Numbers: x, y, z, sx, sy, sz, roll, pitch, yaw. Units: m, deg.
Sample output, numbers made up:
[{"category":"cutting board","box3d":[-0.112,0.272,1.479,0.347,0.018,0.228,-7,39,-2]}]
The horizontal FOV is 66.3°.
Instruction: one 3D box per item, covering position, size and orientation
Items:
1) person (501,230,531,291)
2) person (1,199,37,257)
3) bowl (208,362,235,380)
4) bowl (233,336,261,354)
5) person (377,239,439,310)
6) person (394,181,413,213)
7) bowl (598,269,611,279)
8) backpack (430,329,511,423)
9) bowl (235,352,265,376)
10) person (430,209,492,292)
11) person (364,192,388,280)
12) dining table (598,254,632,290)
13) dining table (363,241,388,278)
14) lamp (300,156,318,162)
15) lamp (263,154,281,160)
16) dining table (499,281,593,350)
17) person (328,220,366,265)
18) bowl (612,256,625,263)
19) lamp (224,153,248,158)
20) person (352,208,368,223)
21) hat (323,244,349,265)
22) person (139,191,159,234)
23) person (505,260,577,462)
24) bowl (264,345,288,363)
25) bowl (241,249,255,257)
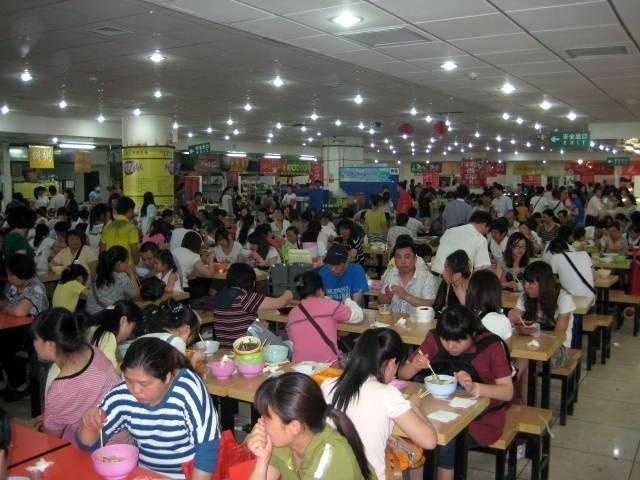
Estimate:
[{"category":"person","box3d":[2.558,0.368,6.405,0.302,1.033,0.312,10,36,25]},{"category":"person","box3d":[-3.804,-0.039,6.209,0.353,0.705,0.756,-3,15,-30]},{"category":"bowl","box3d":[-0.711,0.937,3.585,0.132,0.081,0.138,-1,-8,0]},{"category":"bowl","box3d":[-0.553,0.803,3.736,0.143,0.068,0.141,1,9,0]},{"category":"person","box3d":[0.904,0.601,5.243,0.579,1.125,0.592,4,11,22]},{"category":"person","box3d":[2.264,-1.164,13.242,0.456,0.913,0.686,-6,26,8]},{"category":"bowl","box3d":[3.904,0.457,6.739,0.125,0.078,0.130,-1,1,0]},{"category":"backpack","box3d":[1.018,0.981,3.523,0.600,0.726,0.350,-5,-20,34]},{"category":"bowl","box3d":[-0.524,0.906,3.629,0.160,0.125,0.171,-2,-10,0]},{"category":"person","box3d":[1.900,0.048,6.263,0.535,0.866,0.665,-8,34,-7]},{"category":"person","box3d":[1.275,-0.096,10.491,0.562,1.799,0.477,6,21,36]},{"category":"dining table","box3d":[4.470,0.475,7.453,0.555,0.576,0.579,0,1,23]},{"category":"dining table","box3d":[1.088,0.392,9.700,0.585,0.628,0.602,2,1,28]},{"category":"lamp","box3d":[-0.596,-4.287,25.642,0.464,0.321,1.746,9,14,17]},{"category":"lamp","box3d":[-2.229,-3.946,23.124,0.390,0.311,1.291,13,15,32]},{"category":"dining table","box3d":[2.495,0.719,5.448,0.846,0.738,0.708,1,1,29]},{"category":"person","box3d":[0.459,0.246,8.311,0.518,1.205,0.404,0,13,7]},{"category":"bowl","box3d":[4.585,0.298,7.561,0.107,0.069,0.136,0,-3,-5]},{"category":"lamp","box3d":[-3.522,-3.630,20.903,0.400,0.195,1.520,9,13,15]},{"category":"person","box3d":[0.992,-0.614,12.243,0.623,0.288,0.946,-4,4,-1]},{"category":"hat","box3d":[0.193,0.152,5.379,0.171,0.147,0.246,7,12,27]},{"category":"person","box3d":[-3.606,-0.564,10.231,0.299,0.923,0.277,16,33,-10]},{"category":"person","box3d":[2.100,0.900,4.767,0.758,1.395,0.586,-11,13,-21]},{"category":"bowl","box3d":[-0.334,0.878,3.828,0.131,0.070,0.135,-1,-7,0]},{"category":"bowl","box3d":[-1.156,0.222,7.859,0.223,0.138,0.237,3,13,-1]}]
